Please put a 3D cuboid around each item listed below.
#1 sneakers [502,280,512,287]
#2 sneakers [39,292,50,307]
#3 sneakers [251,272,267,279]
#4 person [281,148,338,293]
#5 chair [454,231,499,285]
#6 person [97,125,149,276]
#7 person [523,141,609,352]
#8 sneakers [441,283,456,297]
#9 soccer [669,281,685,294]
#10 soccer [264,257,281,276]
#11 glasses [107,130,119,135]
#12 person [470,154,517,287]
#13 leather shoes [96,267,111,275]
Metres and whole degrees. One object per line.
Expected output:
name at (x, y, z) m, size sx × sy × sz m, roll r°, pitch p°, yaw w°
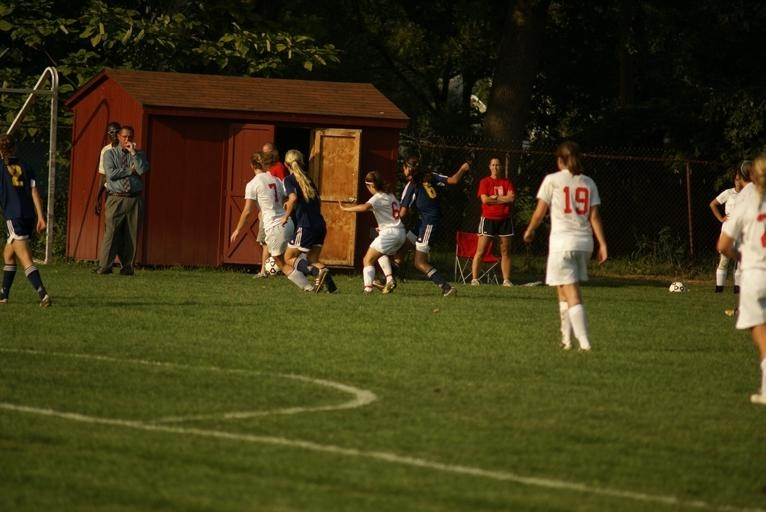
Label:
sneakers at (2.428, 0.523, 21.435) m, size 0.080 × 0.089 × 0.204 m, roll -1°, pitch -1°, yaw -21°
sneakers at (-5.052, 0.643, 16.518) m, size 0.111 × 0.131 × 0.302 m, roll 1°, pitch 5°, yaw -14°
sneakers at (-2.337, 0.356, 21.002) m, size 0.323 × 0.149 × 0.109 m, roll 3°, pitch -1°, yaw 3°
person at (-1.259, -0.595, 18.556) m, size 0.699 × 2.369 × 0.937 m, roll 1°, pitch -2°, yaw 17°
chair at (1.840, 0.090, 21.582) m, size 0.927 × 1.108 × 0.929 m, roll 10°, pitch 10°, yaw 43°
person at (-4.755, -1.020, 20.305) m, size 0.792 × 2.714 × 0.591 m, roll 2°, pitch -2°, yaw -15°
person at (2.512, -0.146, 15.030) m, size 1.014 × 2.840 × 0.538 m, roll 1°, pitch -2°, yaw 2°
sneakers at (1.156, 0.580, 19.320) m, size 0.250 × 0.223 × 0.436 m, roll 1°, pitch -1°, yaw 4°
soccer at (5.789, 0.617, 21.807) m, size 0.250 × 0.165 × 0.298 m, roll -2°, pitch 9°, yaw 6°
soccer at (-2.117, 0.192, 21.126) m, size 0.350 × 0.417 × 0.333 m, roll -1°, pitch 1°, yaw 6°
glasses at (-4.953, -2.281, 20.383) m, size 0.110 × 0.080 × 0.139 m, roll -8°, pitch -12°, yaw -39°
person at (2.133, -0.660, 21.262) m, size 0.794 × 2.454 × 1.263 m, roll 1°, pitch -2°, yaw 6°
leather shoes at (-5.136, 0.265, 20.380) m, size 0.313 × 0.110 × 0.125 m, roll 3°, pitch -8°, yaw -4°
